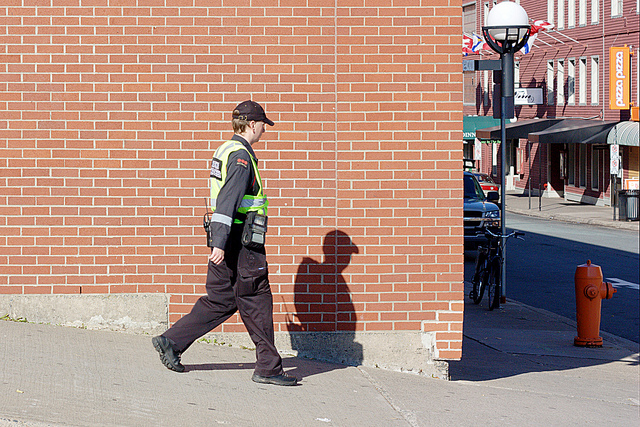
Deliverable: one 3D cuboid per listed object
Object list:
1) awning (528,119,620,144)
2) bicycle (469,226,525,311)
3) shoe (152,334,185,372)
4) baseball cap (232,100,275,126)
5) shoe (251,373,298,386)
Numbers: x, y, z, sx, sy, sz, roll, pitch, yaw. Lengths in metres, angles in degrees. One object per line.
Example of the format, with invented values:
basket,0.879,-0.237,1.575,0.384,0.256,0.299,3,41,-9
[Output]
awning,8.797,-2.862,37.671,1.384,0.877,3.126,-7,-2,-8
bicycle,2.895,0.973,18.919,0.457,1.124,1.892,1,1,19
shoe,-1.722,1.605,12.547,0.255,0.529,0.201,-31,23,-1
baseball cap,-0.759,-1.183,12.482,0.478,0.237,0.315,3,15,-34
shoe,-0.537,1.926,12.556,0.519,0.199,0.182,-1,8,-7
